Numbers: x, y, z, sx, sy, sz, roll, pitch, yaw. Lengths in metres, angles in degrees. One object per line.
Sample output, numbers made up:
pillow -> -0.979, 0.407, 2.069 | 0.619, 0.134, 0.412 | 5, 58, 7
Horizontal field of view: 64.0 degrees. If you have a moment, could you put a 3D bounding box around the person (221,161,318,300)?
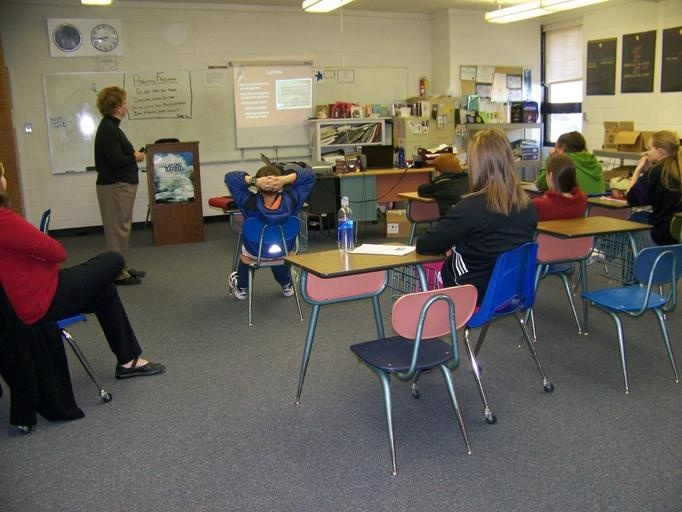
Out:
person -> -0.670, -0.222, 5.057 | 0.796, 1.425, 0.668 | -13, 40, -26

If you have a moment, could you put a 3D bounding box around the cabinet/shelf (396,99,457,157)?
cabinet/shelf -> 1.402, -1.886, 8.743 | 0.831, 1.206, 0.406 | -4, 6, -5

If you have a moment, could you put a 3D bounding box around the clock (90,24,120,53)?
clock -> -3.450, -3.144, 7.884 | 0.397, 0.421, 0.056 | 2, 9, -28

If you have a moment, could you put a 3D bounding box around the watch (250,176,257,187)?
watch -> -0.761, -0.643, 4.704 | 0.049, 0.079, 0.083 | 1, 39, -1

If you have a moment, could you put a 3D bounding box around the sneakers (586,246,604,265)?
sneakers -> 2.264, -0.014, 4.848 | 0.199, 0.196, 0.157 | 2, -3, -34

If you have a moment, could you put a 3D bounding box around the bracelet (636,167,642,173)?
bracelet -> 3.022, -0.872, 5.521 | 0.067, 0.040, 0.038 | 4, -13, -31

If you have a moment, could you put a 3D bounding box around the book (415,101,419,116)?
book -> 1.192, -2.281, 8.503 | 0.102, 0.190, 0.046 | -3, 17, 1

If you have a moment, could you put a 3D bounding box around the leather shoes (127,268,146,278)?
leather shoes -> -2.258, 0.179, 5.994 | 0.174, 0.072, 0.083 | 5, 12, 18

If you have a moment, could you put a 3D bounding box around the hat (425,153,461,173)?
hat -> 1.147, -1.011, 5.989 | 0.209, 0.269, 0.266 | -3, 16, -18

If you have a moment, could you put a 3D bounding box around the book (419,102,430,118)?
book -> 1.320, -2.274, 8.506 | 0.125, 0.242, 0.208 | 9, 21, 35

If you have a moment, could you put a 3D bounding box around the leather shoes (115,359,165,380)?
leather shoes -> -1.419, 0.751, 3.850 | 0.335, 0.141, 0.133 | -6, 10, -23

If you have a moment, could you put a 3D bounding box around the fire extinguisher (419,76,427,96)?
fire extinguisher -> 1.466, -2.997, 9.669 | 0.169, 0.299, 0.115 | -7, 17, -14

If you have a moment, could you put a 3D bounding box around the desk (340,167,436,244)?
desk -> 0.570, -0.663, 6.641 | 1.026, 1.010, 0.444 | -5, 9, -24

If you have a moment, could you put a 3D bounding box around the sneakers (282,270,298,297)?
sneakers -> -0.497, 0.280, 5.074 | 0.109, 0.231, 0.333 | 0, 2, 4

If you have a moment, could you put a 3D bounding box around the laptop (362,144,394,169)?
laptop -> 0.498, -1.351, 7.634 | 0.520, 0.308, 0.355 | -1, 2, -12
